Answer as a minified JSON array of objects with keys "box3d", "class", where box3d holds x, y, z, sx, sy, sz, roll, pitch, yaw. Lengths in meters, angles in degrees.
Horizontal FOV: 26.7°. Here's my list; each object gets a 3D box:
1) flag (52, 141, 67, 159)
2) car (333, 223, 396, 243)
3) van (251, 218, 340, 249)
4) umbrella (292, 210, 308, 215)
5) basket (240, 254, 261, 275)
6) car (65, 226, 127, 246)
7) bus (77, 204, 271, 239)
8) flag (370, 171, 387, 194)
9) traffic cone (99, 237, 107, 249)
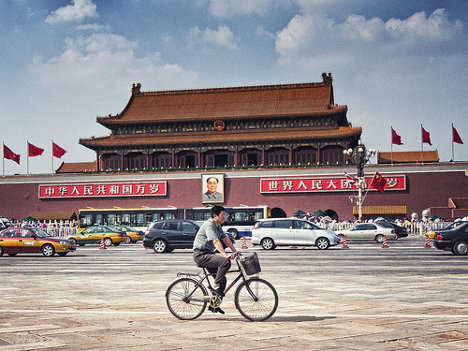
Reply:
[{"box3d":[-14.056,-1.905,79.438,0.897,1.323,2.419,2,-9,-10],"class":"flag"},{"box3d":[8.100,3.551,61.584,3.634,1.137,1.488,1,-4,5],"class":"car"},{"box3d":[3.380,3.269,54.894,4.442,1.457,1.943,-1,-3,2],"class":"van"},{"box3d":[5.102,2.922,75.561,0.775,0.516,1.432,4,-10,-25],"class":"umbrella"},{"box3d":[0.659,3.211,35.728,0.782,0.762,0.717,-20,-8,-5],"class":"basket"},{"box3d":[-8.704,3.855,62.519,3.501,1.104,1.491,1,-5,14],"class":"car"},{"box3d":[-3.714,2.970,61.867,11.894,2.654,2.875,0,-6,6],"class":"bus"},{"box3d":[10.672,0.615,72.678,1.403,1.456,0.168,20,-1,-43],"class":"flag"},{"box3d":[-7.746,4.084,58.524,0.608,0.764,0.595,-6,-1,-7],"class":"traffic cone"}]
